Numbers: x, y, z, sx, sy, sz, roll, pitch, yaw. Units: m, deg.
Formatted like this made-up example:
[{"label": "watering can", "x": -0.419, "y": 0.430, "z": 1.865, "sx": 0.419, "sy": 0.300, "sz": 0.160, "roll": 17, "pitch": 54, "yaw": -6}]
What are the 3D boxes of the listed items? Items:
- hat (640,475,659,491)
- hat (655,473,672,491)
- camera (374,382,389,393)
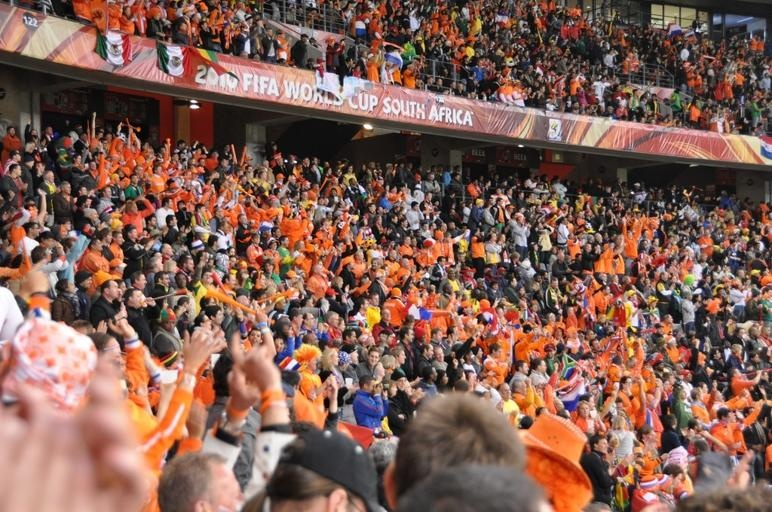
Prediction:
[{"label": "hat", "x": 4.492, "y": 3.865, "z": 18.239, "sx": 0.213, "sy": 0.129, "sz": 0.223, "roll": -19, "pitch": 8, "yaw": -5}, {"label": "hat", "x": 4.753, "y": 3.863, "z": 18.225, "sx": 0.229, "sy": 0.201, "sz": 0.200, "roll": -9, "pitch": -2, "yaw": -13}, {"label": "camera", "x": -0.096, "y": 2.280, "z": 18.387, "sx": 0.182, "sy": 0.091, "sz": 0.259, "roll": 1, "pitch": -3, "yaw": 8}]
